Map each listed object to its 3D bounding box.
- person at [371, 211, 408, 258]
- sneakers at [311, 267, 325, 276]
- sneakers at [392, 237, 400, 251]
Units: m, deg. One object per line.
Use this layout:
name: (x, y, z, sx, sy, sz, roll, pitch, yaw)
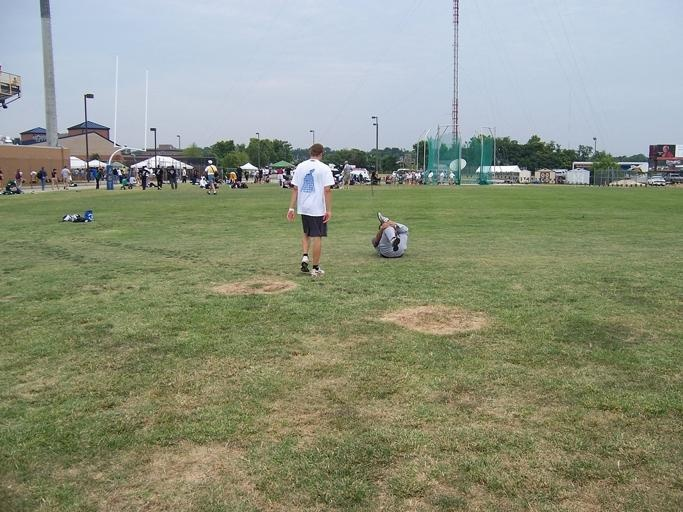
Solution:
person: (0.910, -0.388, 11.543, 0.508, 0.797, 0.597, -14, 20, -43)
sneakers: (-0.375, 0.238, 9.915, 0.094, 0.126, 0.265, 4, 8, 34)
sneakers: (0.994, -0.228, 11.289, 0.184, 0.248, 0.069, -11, 18, -37)
